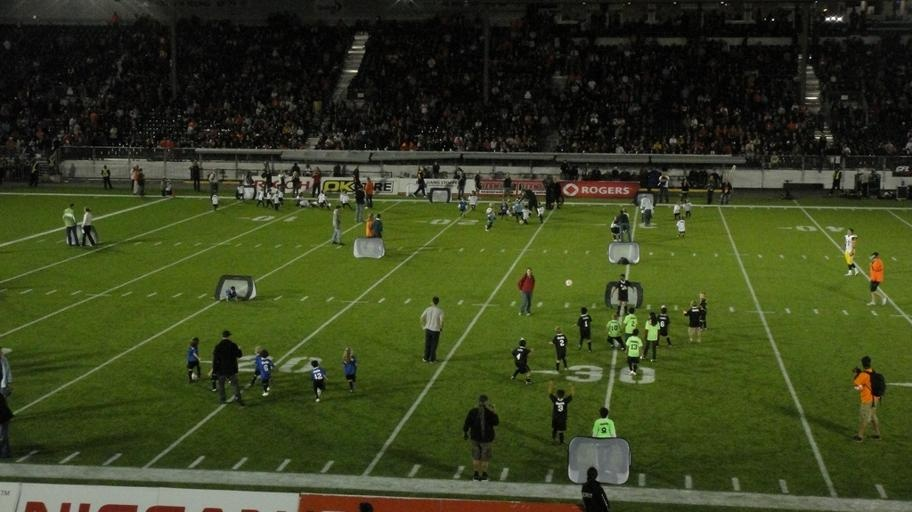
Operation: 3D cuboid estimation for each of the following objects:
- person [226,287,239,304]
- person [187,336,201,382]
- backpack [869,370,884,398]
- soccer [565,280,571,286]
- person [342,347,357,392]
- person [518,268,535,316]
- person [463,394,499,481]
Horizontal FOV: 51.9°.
[{"bbox_3d":[-11.412,1.938,48.085,0.624,0.724,0.419,-1,8,0],"label":"person"},{"bbox_3d":[-11.111,4.368,39.806,0.521,1.959,1.164,-5,9,-19],"label":"person"},{"bbox_3d":[16.177,4.977,36.107,0.447,1.100,0.798,4,10,32],"label":"backpack"},{"bbox_3d":[6.050,1.463,50.440,0.296,0.135,0.280,-4,13,-10],"label":"soccer"},{"bbox_3d":[-4.418,4.683,39.246,0.503,1.964,1.233,-3,9,-7],"label":"person"},{"bbox_3d":[3.416,1.768,46.105,0.691,2.345,1.138,-1,8,2],"label":"person"},{"bbox_3d":[0.949,6.651,34.805,1.185,3.105,1.061,-1,9,2],"label":"person"}]
